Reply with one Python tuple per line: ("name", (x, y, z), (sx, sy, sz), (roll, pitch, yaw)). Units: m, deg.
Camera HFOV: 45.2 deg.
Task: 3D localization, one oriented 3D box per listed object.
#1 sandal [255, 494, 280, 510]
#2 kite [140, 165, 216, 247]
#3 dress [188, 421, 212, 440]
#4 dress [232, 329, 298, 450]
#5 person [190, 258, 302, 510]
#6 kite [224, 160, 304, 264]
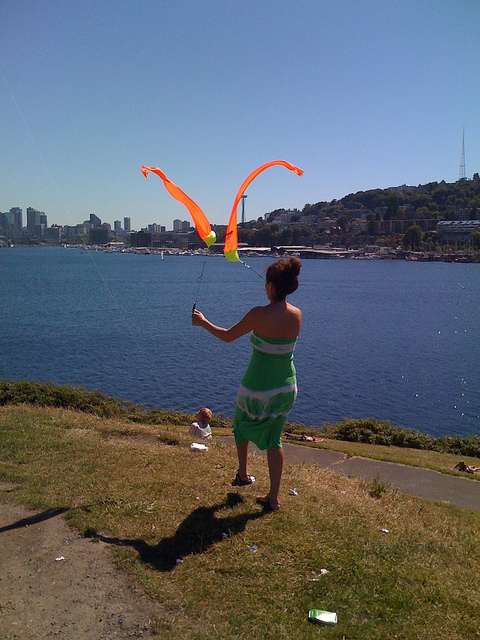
("sandal", (0.223, 1.492, 4.744), (0.075, 0.109, 0.229), (3, 11, -38))
("kite", (-0.523, -1.036, 5.436), (0.370, 0.696, 0.877), (5, 1, 33))
("dress", (-0.529, 1.477, 7.712), (0.307, 0.372, 0.198), (1, 3, -9))
("dress", (0.203, 0.529, 4.650), (0.379, 1.100, 0.312), (9, 16, 1))
("person", (0.134, 0.494, 4.673), (0.782, 1.990, 0.813), (4, 1, -5))
("kite", (0.198, -0.968, 5.601), (0.763, 1.180, 0.335), (-3, -17, 18))
